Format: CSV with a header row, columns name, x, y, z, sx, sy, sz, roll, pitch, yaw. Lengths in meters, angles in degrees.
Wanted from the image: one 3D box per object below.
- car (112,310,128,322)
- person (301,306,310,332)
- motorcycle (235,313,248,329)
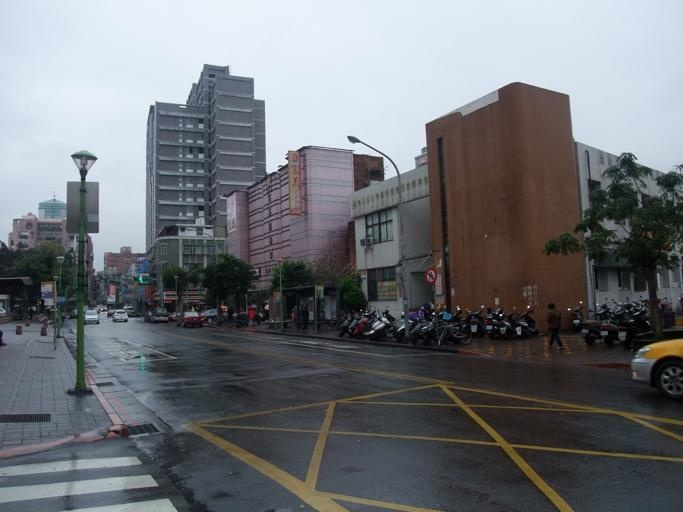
name,x,y,z,sx,sy,sz,roll,pitch,yaw
car,-27.900,7.542,69.302,1.248,1.130,3.046,1,1,-22
person,-2.457,4.228,37.600,0.495,1.763,0.987,-1,-1,0
motorcycle,-8.879,5.655,48.578,0.856,1.412,1.278,2,-9,-16
